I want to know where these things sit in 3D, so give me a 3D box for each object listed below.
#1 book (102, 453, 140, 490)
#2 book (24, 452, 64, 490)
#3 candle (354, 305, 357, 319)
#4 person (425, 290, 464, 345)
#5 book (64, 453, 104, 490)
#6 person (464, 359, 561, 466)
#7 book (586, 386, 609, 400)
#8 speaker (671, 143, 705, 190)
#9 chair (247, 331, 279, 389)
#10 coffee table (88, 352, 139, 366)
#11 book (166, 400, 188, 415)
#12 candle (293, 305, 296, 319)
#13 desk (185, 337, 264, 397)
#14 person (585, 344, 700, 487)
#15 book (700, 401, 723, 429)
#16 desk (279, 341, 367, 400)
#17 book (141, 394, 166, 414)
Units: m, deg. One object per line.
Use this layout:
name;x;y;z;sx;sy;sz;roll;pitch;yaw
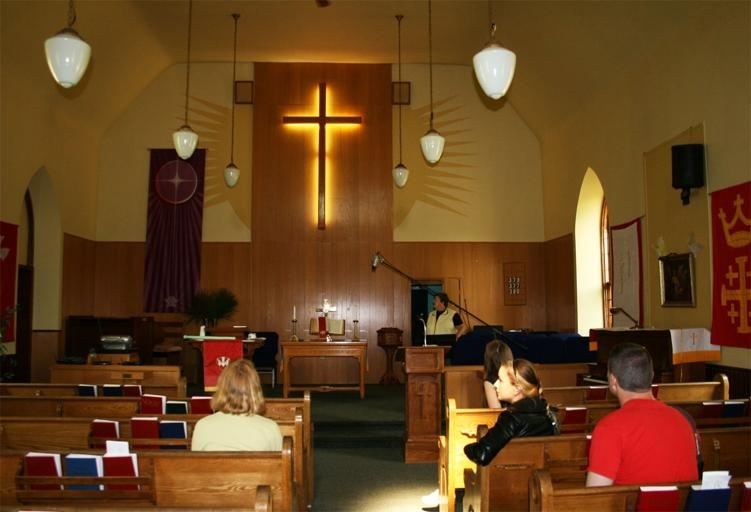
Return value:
book;-2.358;1.978;6.836;0.260;0.372;0.197;-1;14;0
book;-3.087;2.028;6.906;0.191;0.389;0.274;-12;-14;39
candle;-0.401;1.148;14.991;0.092;0.283;0.041;2;-8;-10
person;1.228;1.180;13.294;0.723;1.073;0.458;5;14;27
book;-2.698;1.988;6.823;0.278;0.318;0.107;0;2;-3
person;1.364;1.766;7.588;0.639;1.218;1.273;0;-17;29
book;2.661;1.654;8.885;0.165;0.128;0.181;0;-8;2
speaker;4.488;-1.252;10.632;0.371;0.647;0.375;-1;-2;-2
chair;-2.162;2.024;14.211;0.521;1.019;0.601;3;4;2
coffee table;-3.884;1.520;10.951;0.707;0.204;0.368;6;-12;-25
book;-2.257;1.715;8.431;0.162;0.192;0.040;9;6;-5
candle;-1.619;1.111;14.782;0.078;0.272;0.300;1;-10;-6
desk;-2.507;2.054;12.179;1.351;1.173;1.036;0;-6;-3
person;2.597;1.567;7.164;0.853;1.242;0.701;-7;13;-2
book;3.692;1.745;8.099;0.252;0.278;0.067;5;-7;-4
desk;-0.897;1.918;12.863;1.413;1.043;0.629;0;6;-7
book;-2.562;1.718;8.521;0.169;0.189;0.065;-1;-4;10
